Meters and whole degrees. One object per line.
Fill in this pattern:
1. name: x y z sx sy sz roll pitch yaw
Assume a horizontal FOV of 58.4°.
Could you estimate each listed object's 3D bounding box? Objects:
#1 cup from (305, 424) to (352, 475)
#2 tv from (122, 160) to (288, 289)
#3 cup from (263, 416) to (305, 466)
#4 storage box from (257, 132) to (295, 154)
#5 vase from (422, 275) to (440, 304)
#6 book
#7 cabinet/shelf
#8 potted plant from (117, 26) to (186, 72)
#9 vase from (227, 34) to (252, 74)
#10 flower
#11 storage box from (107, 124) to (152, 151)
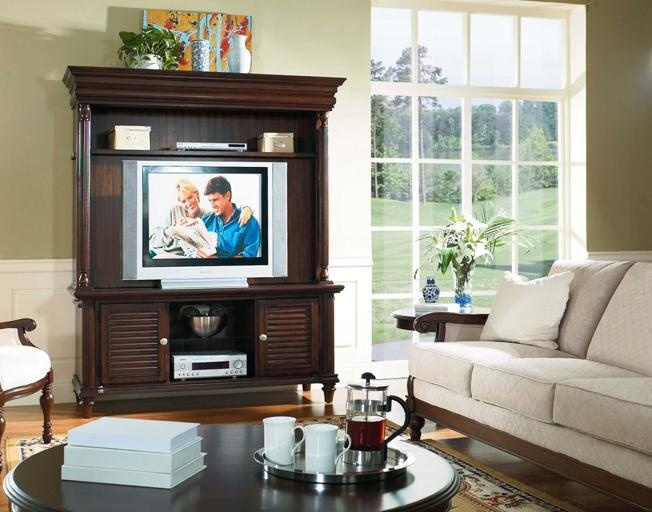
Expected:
1. cup: -0.004 0.562 1.694 0.162 0.128 0.094 1 -3 0
2. tv: -0.923 -0.235 4.197 1.132 0.734 0.173 0 1 -12
3. cup: -0.093 0.557 1.751 0.175 0.139 0.104 1 -4 0
4. storage box: -0.385 -0.854 4.403 0.252 0.163 0.199 -1 6 -10
5. vase: 0.740 0.245 4.128 0.104 0.185 0.324 1 5 9
6. book: -0.540 0.548 1.660 0.280 0.090 0.192 2 4 14
7. cabinet/shelf: -0.831 0.624 4.189 1.831 0.905 0.434 -2 6 -15
8. potted plant: -1.205 -1.445 4.062 0.440 0.206 0.414 -1 7 -23
9. vase: -0.637 -1.472 4.252 0.163 0.304 0.232 -1 6 -10
10. flower: 1.069 -0.131 4.233 0.965 0.528 0.909 -1 6 21
11. storage box: -1.353 -0.819 4.068 0.234 0.170 0.070 -1 6 -6
